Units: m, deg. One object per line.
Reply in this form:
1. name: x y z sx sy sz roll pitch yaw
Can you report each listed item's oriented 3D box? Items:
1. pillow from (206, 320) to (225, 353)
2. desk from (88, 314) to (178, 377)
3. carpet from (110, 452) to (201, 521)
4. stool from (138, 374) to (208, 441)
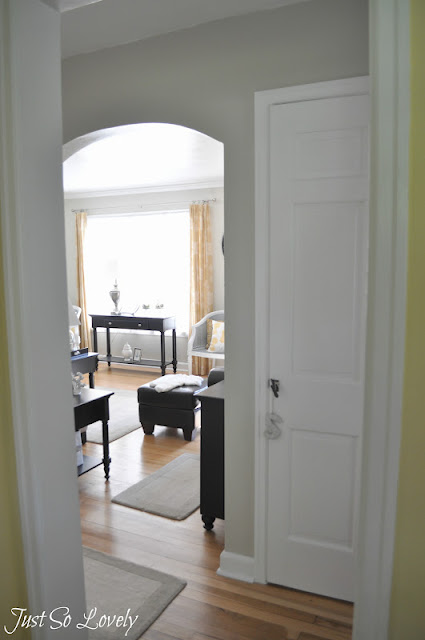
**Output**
1. pillow: 0.040 0.206 6.109 0.181 0.346 0.632 0 4 -2
2. desk: -1.107 0.316 7.217 1.438 0.794 0.601 3 5 33
3. carpet: -0.227 1.060 3.263 0.538 0.046 0.857 2 5 26
4. stool: -0.401 0.811 4.440 0.698 0.487 0.724 1 -3 -38
